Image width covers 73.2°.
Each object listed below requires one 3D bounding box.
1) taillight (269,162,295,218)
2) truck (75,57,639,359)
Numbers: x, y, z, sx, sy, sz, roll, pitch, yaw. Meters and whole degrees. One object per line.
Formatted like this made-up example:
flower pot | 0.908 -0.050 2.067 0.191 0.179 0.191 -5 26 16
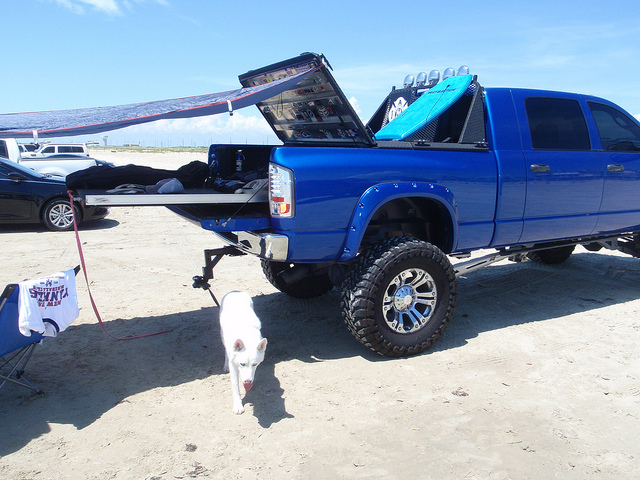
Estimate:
taillight | -0.360 -0.446 3.895 0.264 0.499 0.110 5 21 32
truck | 1.838 -0.641 5.891 8.625 2.179 2.875 -5 10 -22
